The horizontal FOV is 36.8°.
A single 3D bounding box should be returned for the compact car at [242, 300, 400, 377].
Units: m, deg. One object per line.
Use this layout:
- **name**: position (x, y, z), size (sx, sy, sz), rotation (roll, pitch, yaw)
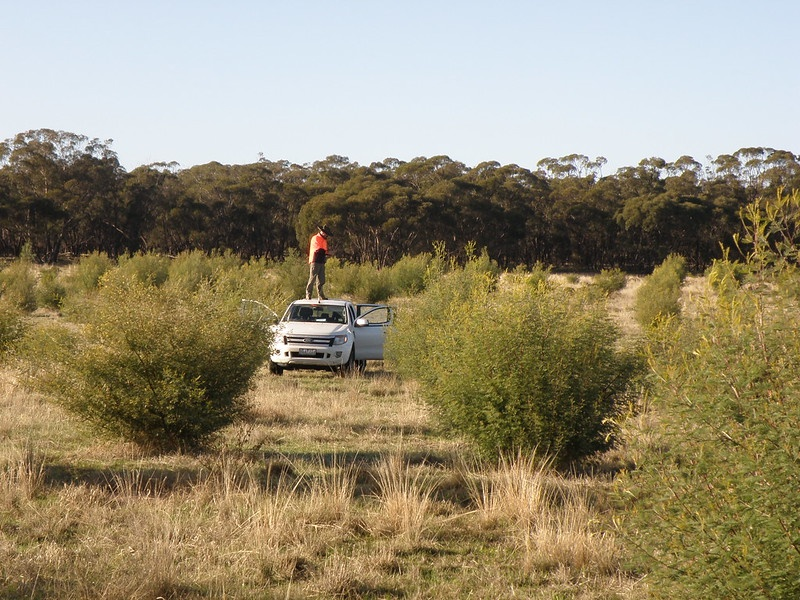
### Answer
- **compact car**: position (-1.302, 0.676, 22.663), size (1.981, 1.495, 2.148), rotation (0, -3, 11)
